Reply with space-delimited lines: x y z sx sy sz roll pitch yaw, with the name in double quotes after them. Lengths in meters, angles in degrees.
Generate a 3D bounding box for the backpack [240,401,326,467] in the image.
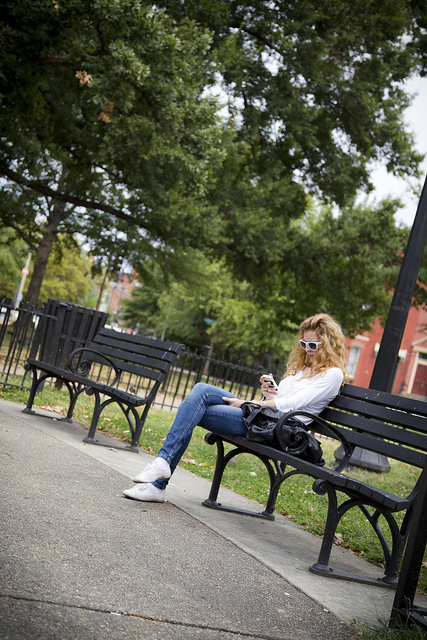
0.486 0.744 3.302 0.478 0.209 0.338 19 1 -16 "backpack"

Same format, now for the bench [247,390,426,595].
0.737 1.091 3.367 0.624 0.893 1.491 12 -5 -18 "bench"

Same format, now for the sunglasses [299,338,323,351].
0.666 0.172 3.738 0.065 0.075 0.195 20 -6 -26 "sunglasses"

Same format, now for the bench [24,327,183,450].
-1.320 0.799 6.116 0.783 0.976 1.629 24 -12 -37 "bench"

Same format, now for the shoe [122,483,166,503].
-0.412 1.043 3.252 0.279 0.105 0.101 12 -11 -26 "shoe"

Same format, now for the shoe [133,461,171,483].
-0.376 0.944 3.333 0.292 0.121 0.098 -1 -2 -25 "shoe"

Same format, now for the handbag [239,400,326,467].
0.394 0.776 3.375 0.378 0.219 0.531 12 11 -41 "handbag"
